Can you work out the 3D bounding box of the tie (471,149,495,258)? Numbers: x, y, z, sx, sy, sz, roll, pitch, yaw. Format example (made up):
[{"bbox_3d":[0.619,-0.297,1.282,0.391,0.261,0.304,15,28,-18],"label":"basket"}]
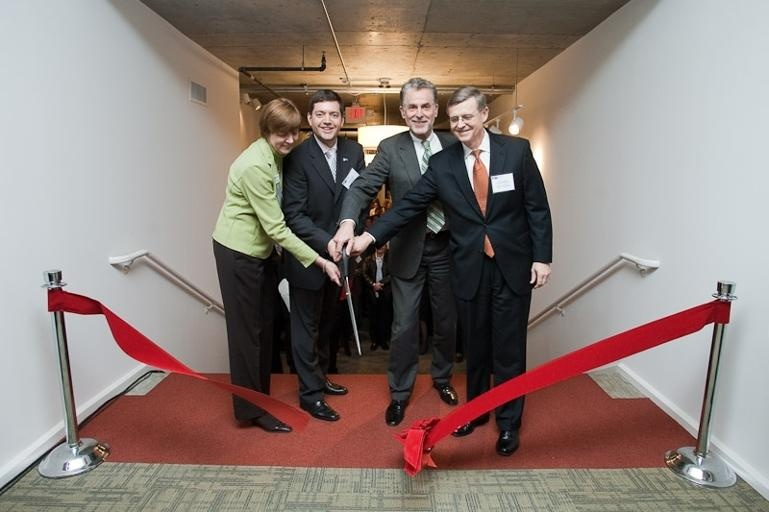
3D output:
[{"bbox_3d":[0.613,-0.312,2.942,0.106,0.674,0.072,-6,11,8],"label":"tie"}]

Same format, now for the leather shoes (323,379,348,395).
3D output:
[{"bbox_3d":[-0.384,1.012,3.724,0.231,0.098,0.084,-1,0,15],"label":"leather shoes"}]

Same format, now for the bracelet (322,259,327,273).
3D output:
[{"bbox_3d":[-0.397,0.053,3.152,0.021,0.059,0.042,-3,-1,-20],"label":"bracelet"}]

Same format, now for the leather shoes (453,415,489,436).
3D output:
[{"bbox_3d":[0.588,1.122,3.249,0.304,0.135,0.100,1,-3,-44],"label":"leather shoes"}]

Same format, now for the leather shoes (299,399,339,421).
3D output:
[{"bbox_3d":[-0.462,1.051,3.363,0.267,0.118,0.124,2,1,29],"label":"leather shoes"}]

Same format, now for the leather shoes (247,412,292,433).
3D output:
[{"bbox_3d":[-0.757,1.127,3.280,0.361,0.150,0.127,-1,-6,13],"label":"leather shoes"}]

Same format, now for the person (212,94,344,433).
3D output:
[{"bbox_3d":[-0.776,0.070,3.178,0.657,2.134,0.609,-6,17,-20],"label":"person"}]

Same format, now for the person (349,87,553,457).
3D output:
[{"bbox_3d":[0.559,-0.061,3.098,0.978,1.950,0.404,9,18,29],"label":"person"}]
